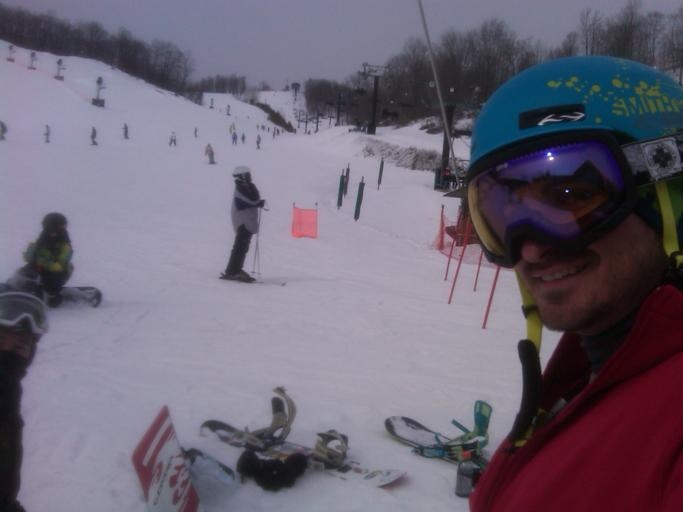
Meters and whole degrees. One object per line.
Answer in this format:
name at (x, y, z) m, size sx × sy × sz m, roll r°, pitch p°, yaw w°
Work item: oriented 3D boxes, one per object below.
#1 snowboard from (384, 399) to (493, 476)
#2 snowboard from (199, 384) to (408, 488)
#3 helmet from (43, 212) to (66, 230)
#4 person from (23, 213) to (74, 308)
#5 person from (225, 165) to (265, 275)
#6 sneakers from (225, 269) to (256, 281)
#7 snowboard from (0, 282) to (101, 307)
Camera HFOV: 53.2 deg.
snowboard at (0.706, 1.310, 4.906) m, size 0.381 × 0.313 × 0.723 m, roll -6°, pitch 18°, yaw -35°
snowboard at (-0.301, 1.242, 4.758) m, size 1.474 × 0.390 × 0.651 m, roll 8°, pitch 12°, yaw 27°
helmet at (-2.986, -0.366, 7.071) m, size 0.171 × 0.142 × 0.171 m, roll -5°, pitch 13°, yaw -41°
person at (-3.107, 0.067, 7.144) m, size 0.530 × 1.087 × 0.549 m, roll 5°, pitch 26°, yaw -32°
person at (-1.543, -0.532, 10.701) m, size 0.602 × 1.719 × 1.697 m, roll 1°, pitch 10°, yaw -7°
sneakers at (-1.520, 0.275, 10.139) m, size 0.453 × 0.231 × 0.172 m, roll 0°, pitch 3°, yaw 1°
snowboard at (-2.471, 0.333, 5.829) m, size 0.443 × 0.140 × 0.330 m, roll 7°, pitch 2°, yaw 35°
